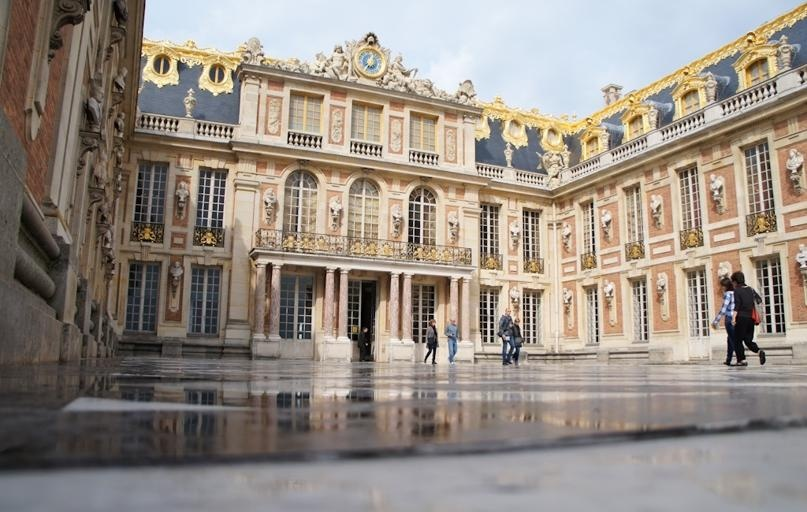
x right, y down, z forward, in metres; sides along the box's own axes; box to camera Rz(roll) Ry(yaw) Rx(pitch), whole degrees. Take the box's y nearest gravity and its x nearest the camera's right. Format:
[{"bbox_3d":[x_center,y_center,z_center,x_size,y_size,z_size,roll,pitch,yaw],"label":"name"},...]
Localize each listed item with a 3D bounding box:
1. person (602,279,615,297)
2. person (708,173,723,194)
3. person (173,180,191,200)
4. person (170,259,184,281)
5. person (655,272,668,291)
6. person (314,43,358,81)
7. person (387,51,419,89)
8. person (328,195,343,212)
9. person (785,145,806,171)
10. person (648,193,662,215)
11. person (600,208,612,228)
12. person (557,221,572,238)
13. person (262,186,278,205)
[{"bbox_3d":[8.242,1.295,26.086,0.220,0.828,0.565,4,-14,-14],"label":"person"},{"bbox_3d":[10.597,-2.516,22.091,0.291,0.727,0.511,6,-15,-20],"label":"person"},{"bbox_3d":[-8.122,-2.415,23.778,0.601,1.075,0.289,6,-29,-24],"label":"person"},{"bbox_3d":[-8.058,0.484,23.169,0.474,0.783,0.313,6,-15,-19],"label":"person"},{"bbox_3d":[9.415,0.889,23.686,0.213,0.713,0.397,14,-19,-43],"label":"person"},{"bbox_3d":[-2.758,-7.909,26.250,1.560,1.894,0.416,8,-15,-26],"label":"person"},{"bbox_3d":[-0.067,-7.706,27.380,0.970,1.364,0.408,6,-15,-20],"label":"person"},{"bbox_3d":[-2.583,-2.065,25.197,0.540,0.755,0.354,4,-14,-13],"label":"person"},{"bbox_3d":[11.950,-2.985,19.776,0.290,0.889,0.673,12,-14,-14],"label":"person"},{"bbox_3d":[9.443,-1.971,24.357,0.239,0.815,0.511,10,-16,-32],"label":"person"},{"bbox_3d":[8.310,-1.559,26.700,0.241,0.750,0.491,7,-15,-22],"label":"person"},{"bbox_3d":[7.306,-1.221,29.366,0.281,0.836,0.638,12,-13,-20],"label":"person"},{"bbox_3d":[-5.015,-2.250,24.303,0.672,0.870,0.305,3,-12,-39],"label":"person"}]
